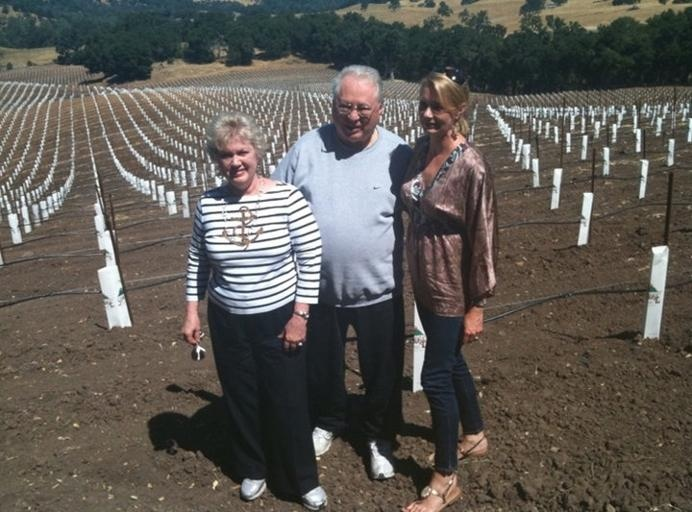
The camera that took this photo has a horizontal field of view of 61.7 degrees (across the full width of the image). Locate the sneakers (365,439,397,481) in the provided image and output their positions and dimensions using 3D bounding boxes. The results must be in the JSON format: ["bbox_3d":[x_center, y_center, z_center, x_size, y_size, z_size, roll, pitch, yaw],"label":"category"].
[{"bbox_3d":[0.306,1.718,4.989,0.226,0.201,0.487,-8,19,7],"label":"sneakers"}]

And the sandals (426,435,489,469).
[{"bbox_3d":[0.932,1.678,4.894,0.577,0.209,0.229,-13,-31,21],"label":"sandals"}]

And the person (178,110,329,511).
[{"bbox_3d":[-0.619,0.491,4.491,0.911,3.070,0.724,-4,18,0],"label":"person"}]

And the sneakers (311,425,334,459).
[{"bbox_3d":[-0.227,1.654,5.134,0.143,0.131,0.311,14,35,12],"label":"sneakers"}]
